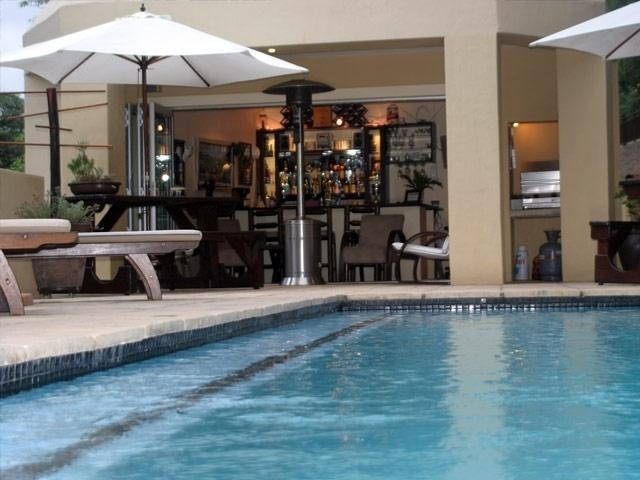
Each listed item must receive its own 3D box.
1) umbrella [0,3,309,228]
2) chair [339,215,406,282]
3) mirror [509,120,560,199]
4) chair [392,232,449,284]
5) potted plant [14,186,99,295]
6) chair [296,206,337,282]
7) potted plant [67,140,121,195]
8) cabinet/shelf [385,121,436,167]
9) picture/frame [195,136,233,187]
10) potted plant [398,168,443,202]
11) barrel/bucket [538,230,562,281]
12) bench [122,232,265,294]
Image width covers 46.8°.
[{"bbox_3d":[-1.685,-1.445,7.168,2.438,1.574,2.184,0,4,30],"label":"umbrella"},{"bbox_3d":[0.684,0.095,9.550,0.650,0.909,0.859,0,-1,22],"label":"chair"},{"bbox_3d":[3.201,-1.258,11.108,0.671,1.085,1.096,-1,4,16],"label":"mirror"},{"bbox_3d":[1.264,0.114,9.002,0.920,0.821,0.673,-1,2,4],"label":"chair"},{"bbox_3d":[-2.426,0.187,7.031,0.624,0.812,0.651,2,-26,-22],"label":"potted plant"},{"bbox_3d":[-0.003,0.101,10.852,0.589,1.177,0.595,-1,5,5],"label":"chair"},{"bbox_3d":[-2.343,-0.726,7.637,0.510,0.549,0.513,-1,0,29],"label":"potted plant"},{"bbox_3d":[1.593,-1.750,13.363,0.844,0.700,0.324,0,3,1],"label":"cabinet/shelf"},{"bbox_3d":[-1.808,-1.279,12.625,0.093,0.849,1.206,4,5,24],"label":"picture/frame"},{"bbox_3d":[1.597,-0.854,11.855,0.436,0.393,0.474,2,-9,39],"label":"potted plant"},{"bbox_3d":[2.727,0.194,8.815,0.250,0.587,0.484,-1,4,17],"label":"barrel/bucket"},{"bbox_3d":[-1.062,0.247,8.120,0.993,0.518,0.727,0,1,16],"label":"bench"}]
